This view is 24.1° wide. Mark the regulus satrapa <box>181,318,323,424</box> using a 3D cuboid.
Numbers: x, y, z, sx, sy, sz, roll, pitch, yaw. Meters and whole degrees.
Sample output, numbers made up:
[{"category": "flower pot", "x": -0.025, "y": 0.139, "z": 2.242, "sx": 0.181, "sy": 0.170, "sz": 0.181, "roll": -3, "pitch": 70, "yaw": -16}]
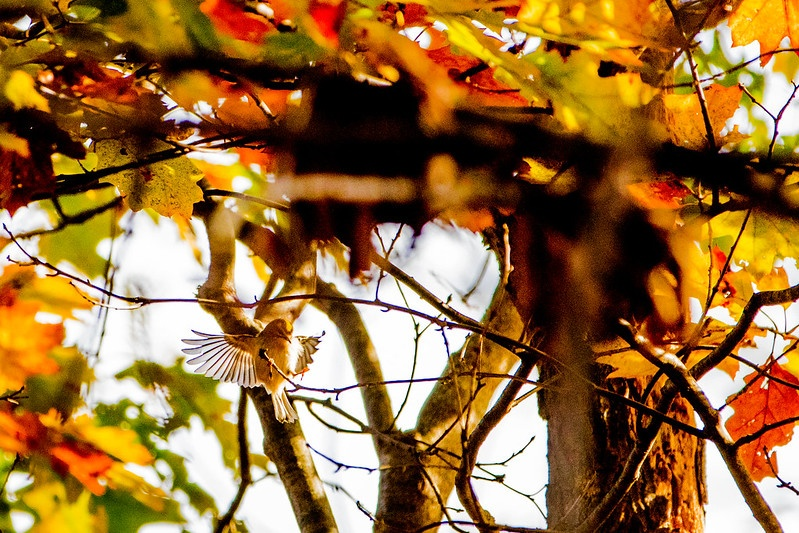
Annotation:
[{"category": "regulus satrapa", "x": -0.389, "y": 0.273, "z": 4.910, "sx": 0.325, "sy": 0.163, "sz": 0.230, "roll": 9, "pitch": -65, "yaw": -22}]
